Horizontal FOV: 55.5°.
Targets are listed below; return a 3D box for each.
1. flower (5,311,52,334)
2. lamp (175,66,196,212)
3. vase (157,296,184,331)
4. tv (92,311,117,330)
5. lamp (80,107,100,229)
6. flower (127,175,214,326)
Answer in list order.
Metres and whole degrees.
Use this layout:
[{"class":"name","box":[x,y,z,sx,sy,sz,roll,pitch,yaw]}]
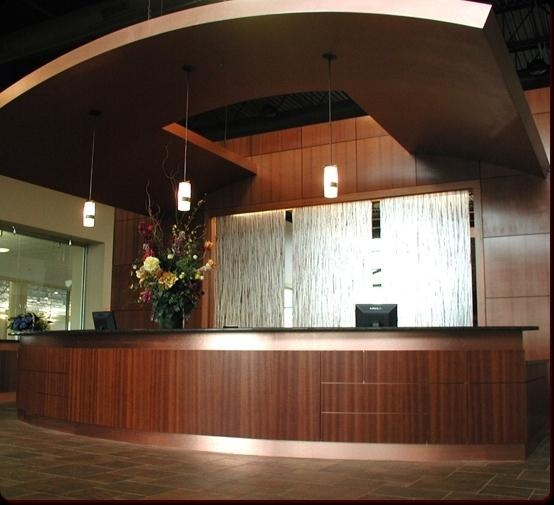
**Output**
[{"class":"flower","box":[-3.835,1.065,8.037,0.447,0.368,0.486,1,-7,10]},{"class":"lamp","box":[-0.889,-1.108,5.150,0.124,1.348,0.127,18,21,40]},{"class":"vase","box":[-0.981,0.546,4.779,0.241,0.310,0.243,8,-11,-38]},{"class":"tv","box":[-1.698,0.664,5.153,0.163,0.182,0.431,2,-5,-40]},{"class":"lamp","box":[-1.972,-0.896,5.621,0.132,1.202,0.124,8,6,25]},{"class":"flower","box":[-0.956,0.140,4.930,0.591,1.197,0.694,1,7,7]}]
